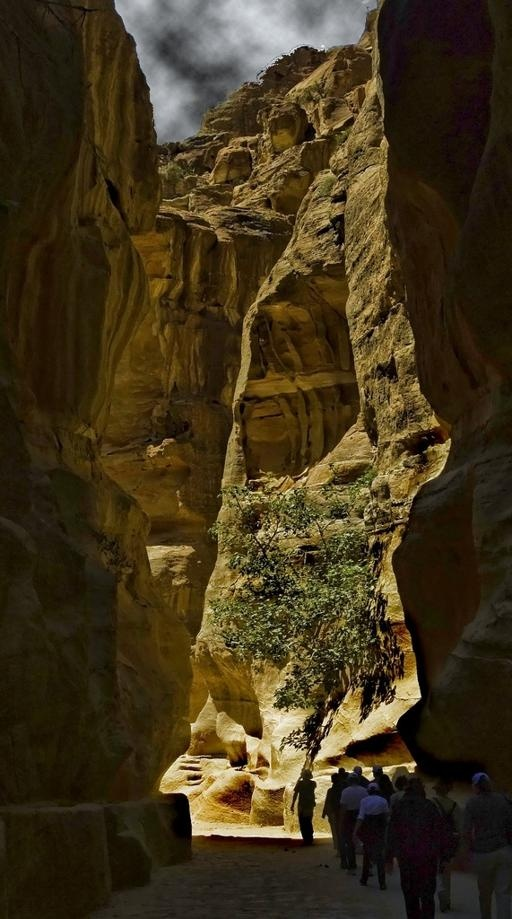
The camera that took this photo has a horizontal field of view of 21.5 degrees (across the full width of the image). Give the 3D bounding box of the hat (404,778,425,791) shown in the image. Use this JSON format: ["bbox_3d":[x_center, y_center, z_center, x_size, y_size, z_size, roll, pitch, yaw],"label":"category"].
[{"bbox_3d":[1.406,2.838,11.763,0.106,0.130,0.041,-8,-1,27],"label":"hat"}]

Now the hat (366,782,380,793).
[{"bbox_3d":[1.203,3.398,13.869,0.118,0.137,0.150,2,-3,5],"label":"hat"}]
